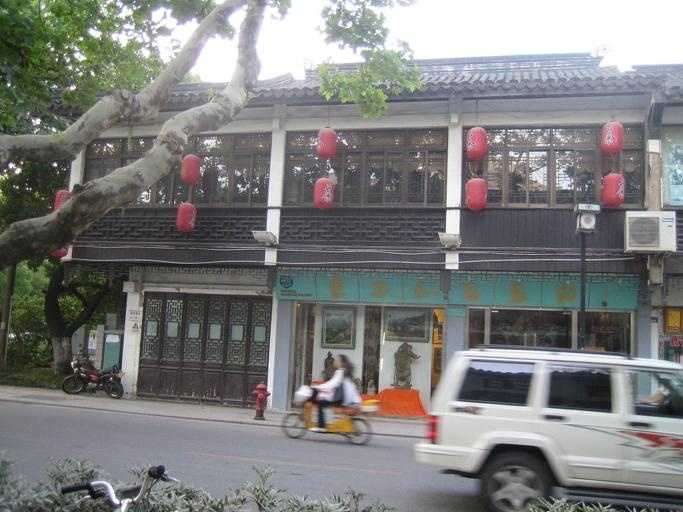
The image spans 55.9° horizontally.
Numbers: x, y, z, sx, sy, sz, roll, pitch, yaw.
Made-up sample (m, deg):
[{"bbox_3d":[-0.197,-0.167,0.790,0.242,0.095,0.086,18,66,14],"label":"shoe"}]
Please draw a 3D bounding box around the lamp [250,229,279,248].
[{"bbox_3d":[-2.125,-0.465,18.077,0.690,0.425,0.651,3,-5,-3],"label":"lamp"}]

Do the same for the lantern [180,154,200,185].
[{"bbox_3d":[-4.229,-2.460,17.952,0.439,0.824,0.568,4,-6,-21],"label":"lantern"}]

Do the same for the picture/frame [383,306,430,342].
[{"bbox_3d":[1.929,1.989,18.668,1.080,0.909,0.079,0,-5,13],"label":"picture/frame"}]

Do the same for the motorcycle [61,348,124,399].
[{"bbox_3d":[-7.693,3.762,19.995,2.078,1.103,0.637,0,-6,21],"label":"motorcycle"}]

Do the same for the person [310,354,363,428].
[{"bbox_3d":[-0.123,3.046,14.222,1.079,1.688,0.400,2,-5,-2],"label":"person"}]

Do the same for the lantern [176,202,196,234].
[{"bbox_3d":[-4.483,-1.098,18.499,0.511,0.743,0.789,4,-6,-14],"label":"lantern"}]

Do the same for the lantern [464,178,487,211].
[{"bbox_3d":[3.503,-1.611,16.807,0.547,0.803,0.687,1,-5,9],"label":"lantern"}]

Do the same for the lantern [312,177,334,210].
[{"bbox_3d":[-0.496,-1.702,17.533,0.500,0.796,0.704,3,-5,-4],"label":"lantern"}]

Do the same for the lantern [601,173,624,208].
[{"bbox_3d":[6.787,-1.687,16.093,0.508,0.914,0.665,0,-6,19],"label":"lantern"}]

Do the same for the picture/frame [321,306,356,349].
[{"bbox_3d":[-0.071,2.149,19.195,1.268,1.437,0.115,0,-8,10],"label":"picture/frame"}]

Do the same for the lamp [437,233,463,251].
[{"bbox_3d":[2.858,-0.375,16.928,0.535,0.370,0.408,1,-2,-4],"label":"lamp"}]

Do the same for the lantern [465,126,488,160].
[{"bbox_3d":[3.429,-2.899,16.479,0.469,0.753,0.324,0,-6,26],"label":"lantern"}]

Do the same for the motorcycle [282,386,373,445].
[{"bbox_3d":[-0.244,3.697,14.600,2.047,1.288,1.068,0,-26,10],"label":"motorcycle"}]

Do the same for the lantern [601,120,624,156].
[{"bbox_3d":[6.583,-2.912,15.669,0.445,0.779,0.312,1,-6,15],"label":"lantern"}]
